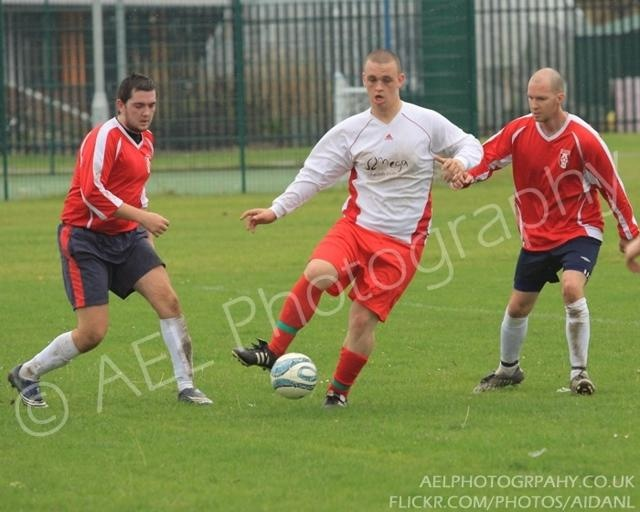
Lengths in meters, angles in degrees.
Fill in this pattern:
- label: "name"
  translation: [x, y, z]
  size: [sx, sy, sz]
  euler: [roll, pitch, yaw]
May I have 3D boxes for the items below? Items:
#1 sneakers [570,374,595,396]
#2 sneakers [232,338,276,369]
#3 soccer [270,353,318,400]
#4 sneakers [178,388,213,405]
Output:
- label: "sneakers"
  translation: [2.232, 1.107, 10.644]
  size: [0.104, 0.143, 0.251]
  euler: [1, 5, 6]
- label: "sneakers"
  translation: [-0.540, 0.852, 10.776]
  size: [0.457, 0.281, 0.177]
  euler: [11, -9, -20]
- label: "soccer"
  translation: [-0.229, 1.010, 10.732]
  size: [0.354, 0.379, 0.351]
  euler: [-17, -12, 43]
- label: "sneakers"
  translation: [-1.085, 1.198, 10.810]
  size: [0.325, 0.157, 0.127]
  euler: [4, 5, 11]
